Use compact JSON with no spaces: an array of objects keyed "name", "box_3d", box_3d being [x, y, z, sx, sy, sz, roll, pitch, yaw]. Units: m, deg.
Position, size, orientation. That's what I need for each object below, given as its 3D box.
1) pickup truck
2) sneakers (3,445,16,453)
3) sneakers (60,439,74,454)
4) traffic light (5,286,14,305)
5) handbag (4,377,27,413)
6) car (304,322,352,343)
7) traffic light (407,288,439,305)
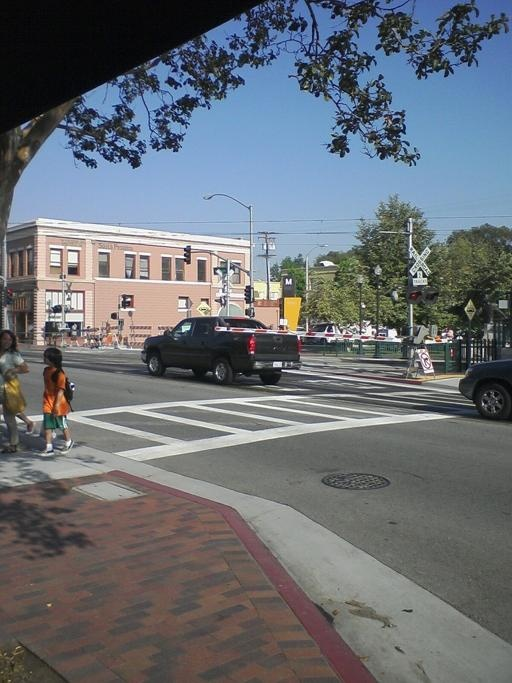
[{"name":"pickup truck","box_3d":[-1.168,0.253,19.657,2.114,1.586,4.651,1,4,-43]},{"name":"sneakers","box_3d":[-3.300,1.459,8.398,0.105,0.080,0.196,0,-5,15]},{"name":"sneakers","box_3d":[-2.603,1.455,8.577,0.093,0.095,0.245,-9,24,28]},{"name":"traffic light","box_3d":[-14.326,-2.653,36.111,0.207,0.993,3.088,-1,0,-18]},{"name":"handbag","box_3d":[-3.285,0.759,8.440,0.272,0.497,0.279,-1,0,-40]},{"name":"car","box_3d":[5.514,-0.743,49.491,2.049,1.465,3.424,-3,-5,41]},{"name":"traffic light","box_3d":[6.275,-1.723,23.665,1.025,0.669,0.712,-1,7,-13]}]
